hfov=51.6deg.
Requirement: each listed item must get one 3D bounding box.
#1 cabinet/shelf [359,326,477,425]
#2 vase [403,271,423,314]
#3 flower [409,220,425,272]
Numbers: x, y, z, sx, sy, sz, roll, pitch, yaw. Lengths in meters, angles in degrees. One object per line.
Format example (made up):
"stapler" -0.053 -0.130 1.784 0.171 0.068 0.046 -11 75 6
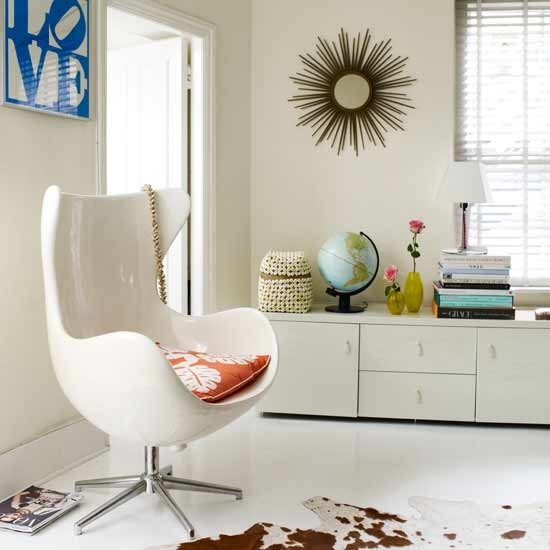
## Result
"cabinet/shelf" 0.692 0.468 2.707 0.588 0.442 0.324 3 6 11
"vase" 0.700 0.087 2.873 0.089 0.207 0.135 2 7 13
"flower" 0.735 -0.149 2.957 0.090 0.275 0.285 2 7 15
